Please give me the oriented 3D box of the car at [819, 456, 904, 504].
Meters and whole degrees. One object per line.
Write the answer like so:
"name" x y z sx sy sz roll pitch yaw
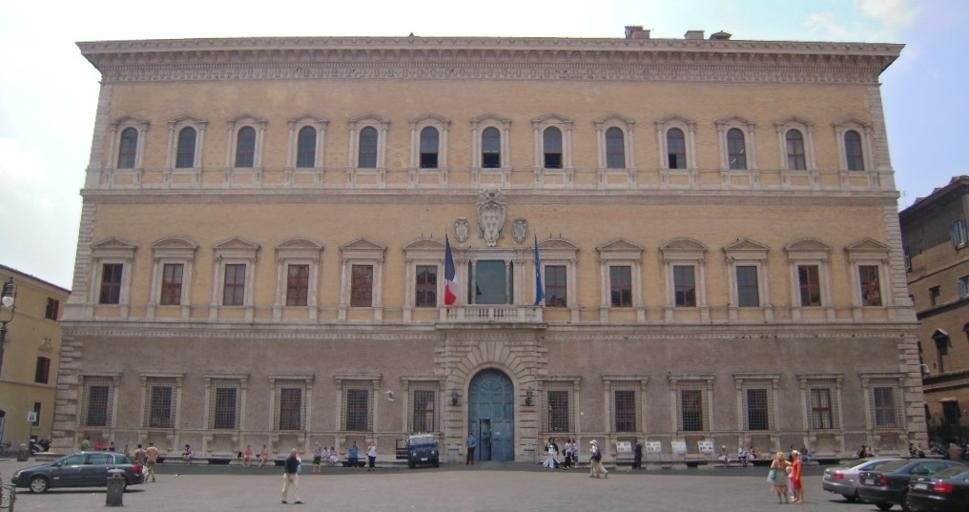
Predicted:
"car" 23.567 13.357 55.599 5.843 1.467 2.196 -1 -7 -9

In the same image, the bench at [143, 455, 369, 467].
"bench" -18.586 14.936 67.565 13.048 0.520 1.575 1 18 4

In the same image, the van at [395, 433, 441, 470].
"van" -4.655 14.049 66.148 2.841 1.257 2.622 2 -26 -8

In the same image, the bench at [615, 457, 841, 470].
"bench" 16.550 15.046 67.464 9.863 0.459 1.102 1 -43 -1
